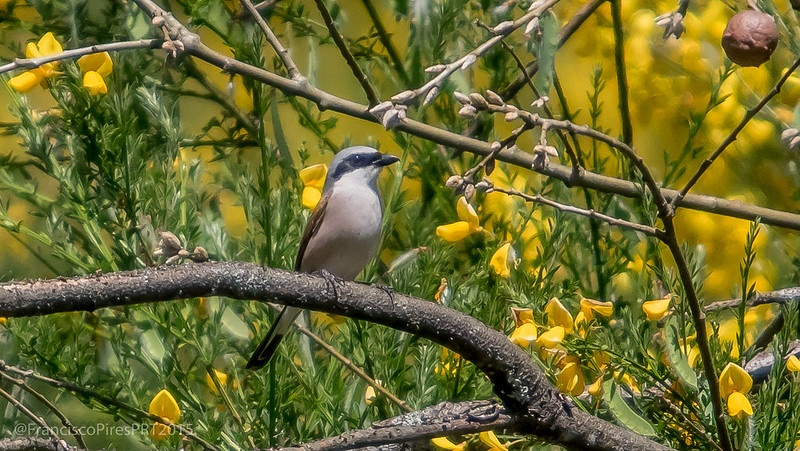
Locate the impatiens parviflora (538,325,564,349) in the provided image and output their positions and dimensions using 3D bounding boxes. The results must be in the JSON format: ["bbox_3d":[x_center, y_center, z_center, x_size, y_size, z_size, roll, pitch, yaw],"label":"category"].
[{"bbox_3d":[0.682,0.507,4.497,0.099,0.037,0.101,-34,-30,20],"label":"impatiens parviflora"}]

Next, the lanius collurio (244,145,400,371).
[{"bbox_3d":[-0.413,0.111,5.404,0.597,1.316,0.958,2,3,-8],"label":"lanius collurio"}]

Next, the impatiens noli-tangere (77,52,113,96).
[{"bbox_3d":[-1.561,-0.773,5.004,0.142,0.140,0.136,-20,-27,-35],"label":"impatiens noli-tangere"}]

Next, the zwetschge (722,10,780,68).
[{"bbox_3d":[1.576,-0.835,4.512,0.237,0.245,0.134,29,-6,2],"label":"zwetschge"}]

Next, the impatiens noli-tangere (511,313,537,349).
[{"bbox_3d":[0.579,0.482,4.552,0.083,0.152,0.106,33,-40,-24],"label":"impatiens noli-tangere"}]
